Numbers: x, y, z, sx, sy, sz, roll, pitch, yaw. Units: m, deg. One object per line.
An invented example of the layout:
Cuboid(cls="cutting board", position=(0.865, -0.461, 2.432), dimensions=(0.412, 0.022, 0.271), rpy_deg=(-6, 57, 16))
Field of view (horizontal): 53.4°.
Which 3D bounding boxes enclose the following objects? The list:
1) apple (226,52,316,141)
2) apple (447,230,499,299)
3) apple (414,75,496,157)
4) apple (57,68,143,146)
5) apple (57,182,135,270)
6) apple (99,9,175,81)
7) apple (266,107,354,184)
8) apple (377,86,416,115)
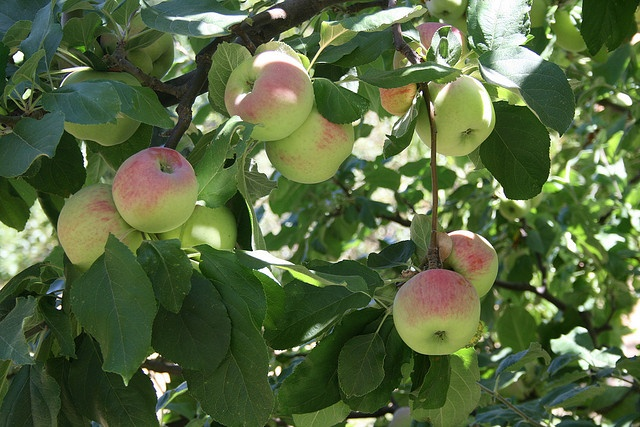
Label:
Cuboid(cls="apple", position=(-0.090, -0.275, 1.576), dimensions=(0.212, 0.196, 0.160), rpy_deg=(-49, 3, 11))
Cuboid(cls="apple", position=(0.377, 0.143, 1.614), dimensions=(0.145, 0.154, 0.137), rpy_deg=(9, -23, -45))
Cuboid(cls="apple", position=(0.366, -0.274, 1.652), dimensions=(0.166, 0.206, 0.170), rpy_deg=(-5, -36, 1))
Cuboid(cls="apple", position=(-0.568, -0.276, 1.639), dimensions=(0.139, 0.147, 0.151), rpy_deg=(-4, 17, -8))
Cuboid(cls="apple", position=(-0.504, 0.038, 1.546), dimensions=(0.166, 0.210, 0.171), rpy_deg=(5, -20, 5))
Cuboid(cls="apple", position=(-0.493, -0.441, 1.743), dimensions=(0.143, 0.198, 0.112), rpy_deg=(18, -40, -15))
Cuboid(cls="apple", position=(-0.017, -0.167, 1.612), dimensions=(0.178, 0.226, 0.181), rpy_deg=(-11, -10, 42))
Cuboid(cls="apple", position=(0.201, -0.298, 1.650), dimensions=(0.069, 0.086, 0.066), rpy_deg=(7, 5, 33))
